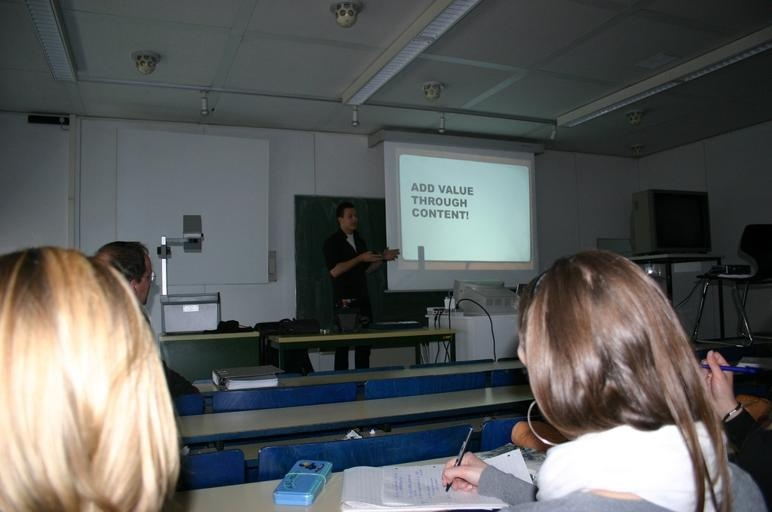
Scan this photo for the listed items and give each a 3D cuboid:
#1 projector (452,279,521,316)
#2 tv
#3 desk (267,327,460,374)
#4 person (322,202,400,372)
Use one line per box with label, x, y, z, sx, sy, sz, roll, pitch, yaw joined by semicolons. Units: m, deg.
projector;0.827;0.335;4.700;0.486;0.297;0.478;2;-4;-27
tv;2.995;-0.346;5.898;1.010;0.720;0.120;1;-3;-23
desk;-0.178;0.694;4.461;1.675;0.276;0.702;5;0;-24
person;-0.306;0.421;6.003;0.821;1.975;0.828;1;7;28
